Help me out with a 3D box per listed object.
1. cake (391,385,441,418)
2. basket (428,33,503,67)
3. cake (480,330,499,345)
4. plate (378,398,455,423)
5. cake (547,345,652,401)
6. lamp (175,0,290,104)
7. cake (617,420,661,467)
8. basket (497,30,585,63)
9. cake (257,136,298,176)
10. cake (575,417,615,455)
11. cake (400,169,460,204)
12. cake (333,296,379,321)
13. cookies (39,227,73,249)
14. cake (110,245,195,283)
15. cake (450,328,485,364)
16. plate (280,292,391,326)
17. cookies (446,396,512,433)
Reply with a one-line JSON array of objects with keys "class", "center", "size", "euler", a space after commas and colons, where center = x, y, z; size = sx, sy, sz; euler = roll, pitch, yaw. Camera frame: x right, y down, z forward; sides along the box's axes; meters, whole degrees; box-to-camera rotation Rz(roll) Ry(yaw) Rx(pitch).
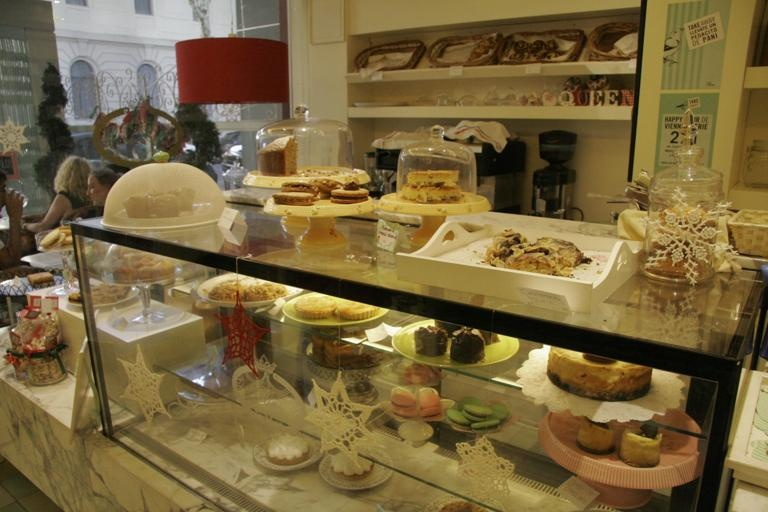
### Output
[{"class": "cake", "center": [0.122, 0.514, 1.898], "size": [0.152, 0.064, 0.145], "euler": [-1, 0, 6]}, {"class": "basket", "center": [0.761, -1.904, 4.939], "size": [0.528, 0.122, 0.411], "euler": [13, 54, 32]}, {"class": "cake", "center": [0.346, 0.267, 1.726], "size": [0.059, 0.049, 0.045], "euler": [0, 17, 31]}, {"class": "plate", "center": [0.113, 0.535, 1.908], "size": [0.189, 0.030, 0.128], "euler": [1, 3, 10]}, {"class": "cake", "center": [0.654, 0.322, 1.613], "size": [0.202, 0.060, 0.193], "euler": [-2, 7, -36]}, {"class": "lamp", "center": [-0.932, -1.213, 3.299], "size": [0.530, 0.257, 0.516], "euler": [-5, 9, -29]}, {"class": "cake", "center": [0.772, 0.569, 1.663], "size": [0.139, 0.133, 0.131], "euler": [2, 3, 0]}, {"class": "basket", "center": [1.333, -1.793, 4.529], "size": [0.592, 0.359, 0.116], "euler": [8, -14, 37]}, {"class": "cake", "center": [-0.533, -0.511, 2.756], "size": [0.212, 0.202, 0.218], "euler": [-6, 16, -25]}, {"class": "cake", "center": [0.651, 0.554, 1.669], "size": [0.122, 0.073, 0.110], "euler": [4, 10, 20]}, {"class": "cake", "center": [0.192, -0.278, 2.119], "size": [0.252, 0.115, 0.190], "euler": [1, 15, 5]}, {"class": "cake", "center": [-0.101, 0.187, 1.963], "size": [0.105, 0.026, 0.103], "euler": [5, 11, 27]}, {"class": "cookies", "center": [-1.932, -0.101, 3.168], "size": [0.134, 0.033, 0.129], "euler": [4, 32, 24]}, {"class": "cake", "center": [-1.093, 0.013, 2.429], "size": [0.256, 0.081, 0.254], "euler": [10, 12, 31]}, {"class": "cake", "center": [0.282, 0.294, 1.765], "size": [0.112, 0.111, 0.108], "euler": [6, 20, 29]}, {"class": "plate", "center": [-0.202, 0.214, 2.020], "size": [0.218, 0.032, 0.200], "euler": [5, 10, 20]}, {"class": "cookies", "center": [0.316, 0.525, 1.808], "size": [0.142, 0.042, 0.135], "euler": [1, 10, -26]}]
